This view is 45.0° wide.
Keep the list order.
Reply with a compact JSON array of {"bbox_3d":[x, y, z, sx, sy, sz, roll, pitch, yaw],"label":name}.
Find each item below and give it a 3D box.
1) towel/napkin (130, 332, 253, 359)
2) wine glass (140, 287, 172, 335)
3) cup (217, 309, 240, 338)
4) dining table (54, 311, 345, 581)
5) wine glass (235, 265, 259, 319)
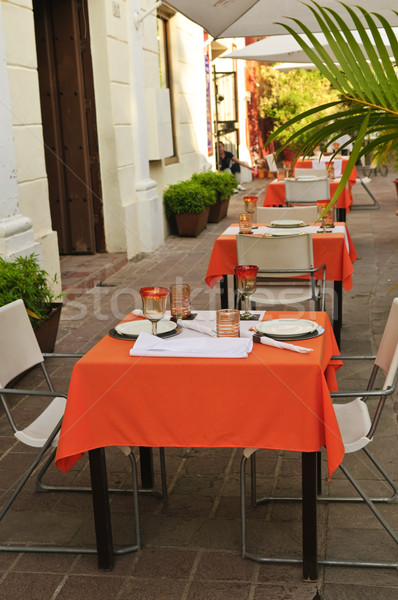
[{"bbox_3d":[-0.023,0.130,1.554,0.334,0.077,0.285,-3,13,-14],"label":"towel/napkin"},{"bbox_3d":[-0.190,0.027,1.763,0.152,0.159,0.177,4,16,19],"label":"wine glass"},{"bbox_3d":[0.104,0.088,1.753,0.092,0.101,0.091,0,2,0],"label":"cup"},{"bbox_3d":[-0.015,0.433,1.868,0.907,0.688,1.016,1,15,4],"label":"dining table"},{"bbox_3d":[0.224,-0.033,2.195,0.117,0.232,0.119,-10,13,-36],"label":"wine glass"}]
